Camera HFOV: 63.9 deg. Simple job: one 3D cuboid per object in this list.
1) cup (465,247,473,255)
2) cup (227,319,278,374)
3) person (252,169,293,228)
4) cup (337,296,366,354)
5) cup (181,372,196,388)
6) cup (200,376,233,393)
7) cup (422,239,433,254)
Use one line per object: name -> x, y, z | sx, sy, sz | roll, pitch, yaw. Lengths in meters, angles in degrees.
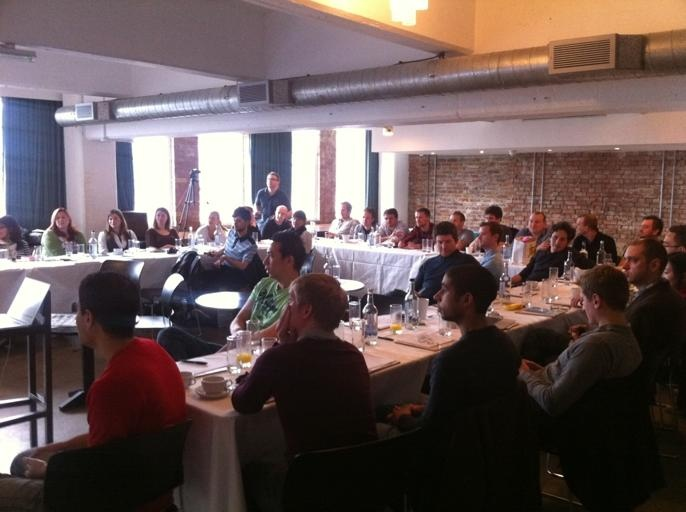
cup -> 1.586, -0.062, 6.917 | 0.103, 0.129, 0.133 | -1, -2, -2
cup -> -0.490, 0.501, 3.077 | 0.155, 0.314, 0.427 | 4, 5, 19
person -> -1.234, -0.734, 9.327 | 0.628, 1.282, 0.375 | 3, 4, -1
cup -> -0.006, 0.429, 3.431 | 0.153, 0.299, 0.287 | 0, 4, -2
cup -> -0.790, 0.628, 2.788 | 0.066, 0.059, 0.085 | -2, -7, 11
cup -> -0.613, 0.618, 2.670 | 0.098, 0.048, 0.078 | 2, -3, -18
cup -> 1.170, -0.128, 7.591 | 0.137, 0.288, 0.202 | 2, 9, 22
